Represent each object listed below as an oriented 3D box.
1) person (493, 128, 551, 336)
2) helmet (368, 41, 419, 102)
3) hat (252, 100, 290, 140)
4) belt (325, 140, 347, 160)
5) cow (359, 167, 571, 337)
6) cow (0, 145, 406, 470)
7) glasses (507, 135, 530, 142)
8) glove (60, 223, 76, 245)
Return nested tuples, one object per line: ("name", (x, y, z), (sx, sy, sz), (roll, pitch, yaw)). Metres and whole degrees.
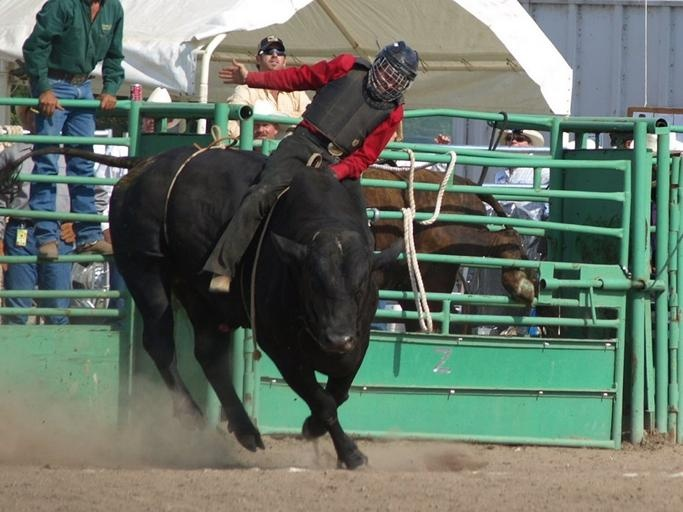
("person", (1.771, -0.172, 14.218), (0.422, 2.206, 1.172), (1, 7, 5))
("helmet", (0.430, -1.541, 12.229), (0.407, 0.512, 0.238), (3, 3, 2))
("hat", (-0.718, -1.327, 14.129), (0.333, 0.451, 0.472), (0, 2, -4))
("belt", (-0.041, -0.889, 12.252), (0.141, 0.141, 0.032), (-12, -21, -29))
("cow", (1.401, -0.219, 13.847), (2.616, 1.700, 0.829), (4, -15, -13))
("cow", (-0.757, 0.395, 12.106), (2.437, 2.571, 0.813), (4, 3, 34))
("glasses", (2.034, -1.354, 16.809), (0.165, 0.088, 0.124), (0, 3, -43))
("glove", (-2.683, -0.236, 14.132), (0.063, 0.174, 0.183), (8, 4, 44))
